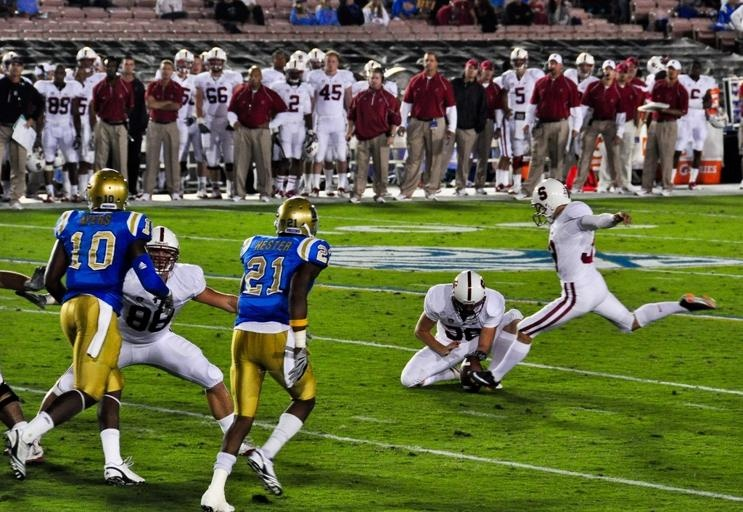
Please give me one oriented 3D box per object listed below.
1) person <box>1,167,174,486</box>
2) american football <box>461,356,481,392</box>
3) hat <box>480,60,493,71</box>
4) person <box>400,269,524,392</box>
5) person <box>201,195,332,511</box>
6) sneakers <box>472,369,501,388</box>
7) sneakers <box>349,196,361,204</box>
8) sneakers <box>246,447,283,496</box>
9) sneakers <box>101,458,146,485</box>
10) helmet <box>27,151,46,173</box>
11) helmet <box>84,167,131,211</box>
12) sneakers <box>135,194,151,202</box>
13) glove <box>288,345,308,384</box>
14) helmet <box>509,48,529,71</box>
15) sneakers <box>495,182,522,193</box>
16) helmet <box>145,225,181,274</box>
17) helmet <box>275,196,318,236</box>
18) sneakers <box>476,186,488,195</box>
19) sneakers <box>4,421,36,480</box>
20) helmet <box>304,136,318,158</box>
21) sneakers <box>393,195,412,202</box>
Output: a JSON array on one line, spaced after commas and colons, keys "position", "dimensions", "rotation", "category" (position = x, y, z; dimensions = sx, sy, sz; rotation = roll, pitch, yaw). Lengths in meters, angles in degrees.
[{"position": [-1.805, 0.426, 7.843], "dimensions": [0.972, 1.978, 0.820], "rotation": [3, 3, 0], "category": "person"}, {"position": [0.778, 0.925, 9.453], "dimensions": [0.129, 0.195, 0.258], "rotation": [-2, -33, 9], "category": "american football"}, {"position": [1.902, -3.096, 19.615], "dimensions": [0.207, 0.116, 0.282], "rotation": [0, 16, 2], "category": "hat"}, {"position": [0.710, 0.447, 9.618], "dimensions": [0.896, 0.966, 0.980], "rotation": [2, 38, 2], "category": "person"}, {"position": [-0.734, 0.705, 7.600], "dimensions": [0.573, 1.650, 0.783], "rotation": [4, 3, 25], "category": "person"}, {"position": [0.916, 0.977, 9.436], "dimensions": [0.207, 0.157, 0.299], "rotation": [4, 3, 17], "category": "sneakers"}, {"position": [-0.260, -0.875, 18.761], "dimensions": [0.188, 0.116, 0.172], "rotation": [2, 3, -7], "category": "sneakers"}, {"position": [-0.673, 1.356, 7.600], "dimensions": [0.171, 0.368, 0.135], "rotation": [-34, -3, -14], "category": "sneakers"}, {"position": [-1.589, 1.382, 7.667], "dimensions": [0.312, 0.208, 0.118], "rotation": [10, 5, -10], "category": "sneakers"}, {"position": [-5.190, -1.413, 18.219], "dimensions": [0.247, 0.313, 0.315], "rotation": [-3, -6, -43], "category": "helmet"}, {"position": [-1.792, -0.444, 8.100], "dimensions": [0.232, 0.241, 0.299], "rotation": [-2, 16, -15], "category": "helmet"}, {"position": [-3.592, -0.893, 18.654], "dimensions": [0.102, 0.115, 0.292], "rotation": [-1, 2, -32], "category": "sneakers"}, {"position": [-0.477, 0.708, 7.681], "dimensions": [0.125, 0.257, 0.077], "rotation": [3, 3, -4], "category": "glove"}, {"position": [2.411, -3.246, 19.717], "dimensions": [0.326, 0.360, 0.425], "rotation": [-3, 18, 26], "category": "helmet"}, {"position": [2.334, -1.138, 20.377], "dimensions": [0.490, 0.200, 0.163], "rotation": [0, 17, 11], "category": "sneakers"}, {"position": [-1.390, -0.043, 8.067], "dimensions": [0.227, 0.245, 0.302], "rotation": [2, 0, -5], "category": "helmet"}, {"position": [-0.484, -0.264, 8.031], "dimensions": [0.293, 0.240, 0.222], "rotation": [-12, 23, -39], "category": "helmet"}, {"position": [1.890, -1.072, 20.079], "dimensions": [0.257, 0.103, 0.093], "rotation": [4, 19, 13], "category": "sneakers"}, {"position": [-2.236, 1.235, 7.566], "dimensions": [0.168, 0.368, 0.201], "rotation": [3, 3, -5], "category": "sneakers"}, {"position": [-0.972, -1.734, 19.025], "dimensions": [0.228, 0.370, 0.306], "rotation": [4, 3, 18], "category": "helmet"}, {"position": [0.494, -0.927, 19.073], "dimensions": [0.261, 0.113, 0.101], "rotation": [6, 27, 10], "category": "sneakers"}]
